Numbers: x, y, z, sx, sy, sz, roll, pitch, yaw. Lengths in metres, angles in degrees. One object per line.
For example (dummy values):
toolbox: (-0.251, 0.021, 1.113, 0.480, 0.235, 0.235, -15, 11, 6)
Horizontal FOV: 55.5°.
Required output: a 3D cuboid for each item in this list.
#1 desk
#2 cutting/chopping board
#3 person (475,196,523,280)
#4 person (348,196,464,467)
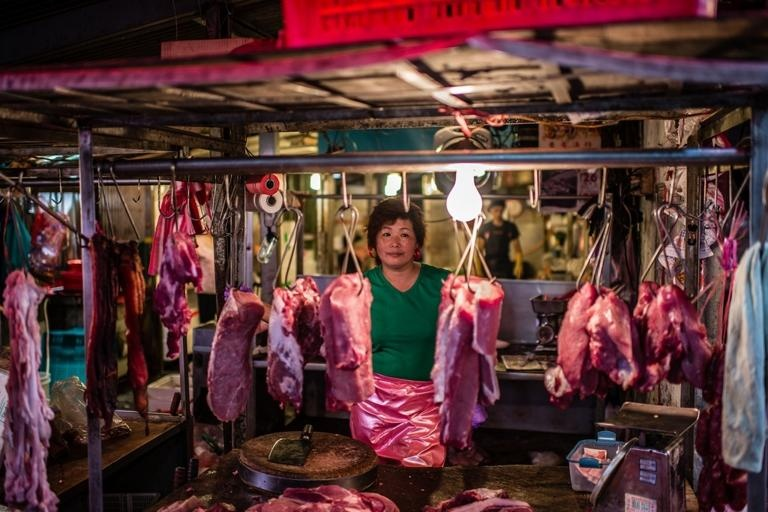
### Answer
desk: (-1.842, 1.177, 4.957, 0.509, 0.603, 0.962, 1, 1, 22)
cutting/chopping board: (-0.431, 1.165, 4.103, 0.776, 0.251, 0.462, 2, -2, 0)
person: (1.750, -0.263, 10.805, 0.627, 1.156, 0.898, 1, -2, 9)
person: (0.111, 0.472, 5.144, 0.640, 1.832, 0.900, 2, -2, -2)
